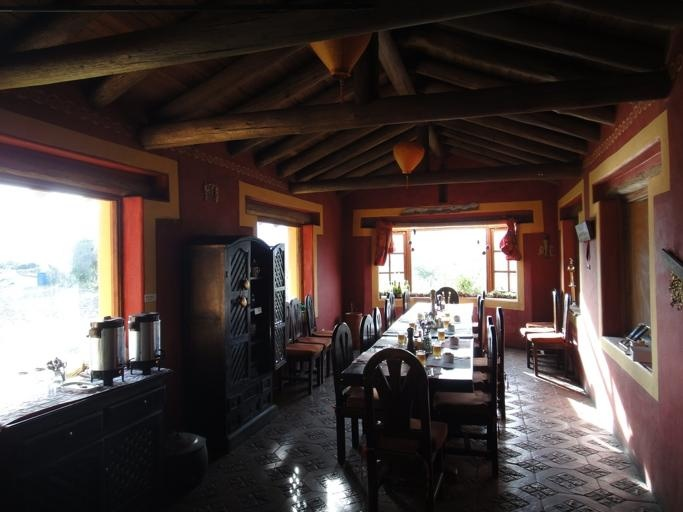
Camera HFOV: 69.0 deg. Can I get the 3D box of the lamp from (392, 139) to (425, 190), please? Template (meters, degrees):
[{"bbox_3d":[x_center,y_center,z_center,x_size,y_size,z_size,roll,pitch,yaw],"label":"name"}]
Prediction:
[{"bbox_3d":[0.729,-1.067,5.505,0.351,0.518,0.350,7,15,33],"label":"lamp"}]

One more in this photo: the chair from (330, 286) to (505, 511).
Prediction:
[{"bbox_3d":[0.770,1.462,4.637,1.228,1.230,2.403,-1,0,11],"label":"chair"}]

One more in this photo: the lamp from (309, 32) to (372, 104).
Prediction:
[{"bbox_3d":[0.026,-1.454,3.751,0.486,0.572,0.490,-4,4,-20],"label":"lamp"}]

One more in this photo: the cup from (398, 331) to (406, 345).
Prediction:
[{"bbox_3d":[0.696,0.954,5.721,0.112,0.124,0.096,-1,1,-1],"label":"cup"}]

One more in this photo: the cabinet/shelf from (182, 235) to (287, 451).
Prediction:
[{"bbox_3d":[-1.232,0.923,5.796,0.532,2.320,1.251,1,-1,24],"label":"cabinet/shelf"}]
